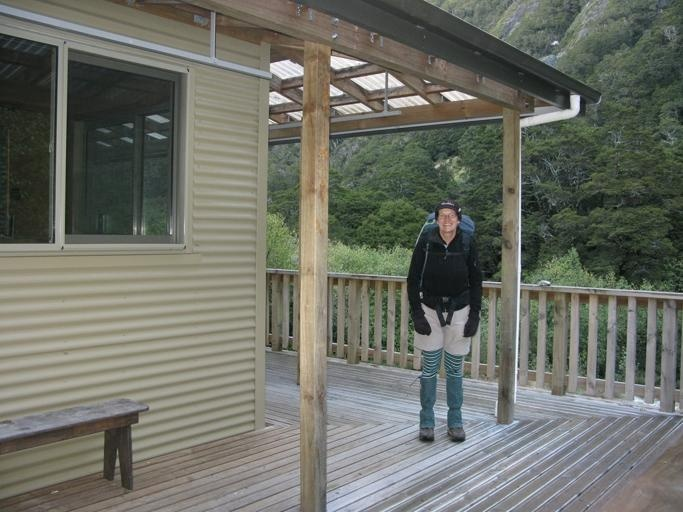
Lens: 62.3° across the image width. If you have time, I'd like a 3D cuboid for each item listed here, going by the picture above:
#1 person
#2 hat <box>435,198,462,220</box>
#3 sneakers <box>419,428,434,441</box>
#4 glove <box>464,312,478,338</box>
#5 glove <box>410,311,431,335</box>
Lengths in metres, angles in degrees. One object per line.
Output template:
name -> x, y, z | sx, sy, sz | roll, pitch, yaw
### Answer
person -> 0.918, 0.568, 5.071 | 0.670, 2.123, 0.373 | 0, 5, 1
hat -> 0.943, -0.419, 4.955 | 0.156, 0.106, 0.207 | 1, -34, 25
sneakers -> 0.755, 1.587, 5.025 | 0.133, 0.100, 0.105 | 1, 5, 12
glove -> 1.147, 0.605, 4.986 | 0.074, 0.197, 0.154 | -5, 17, 45
glove -> 0.694, 0.597, 5.006 | 0.140, 0.227, 0.061 | -24, -18, 4
